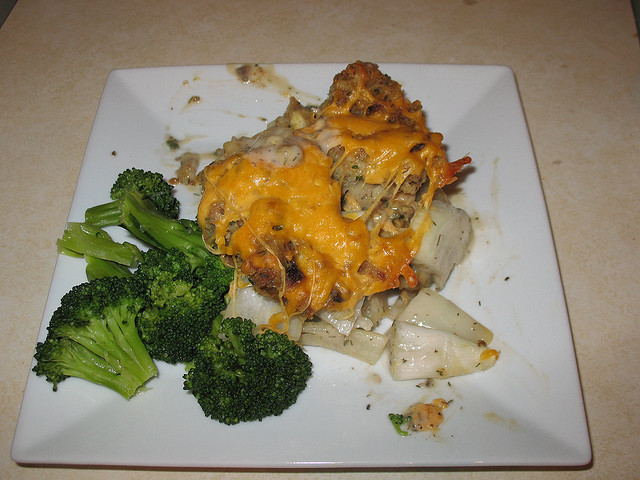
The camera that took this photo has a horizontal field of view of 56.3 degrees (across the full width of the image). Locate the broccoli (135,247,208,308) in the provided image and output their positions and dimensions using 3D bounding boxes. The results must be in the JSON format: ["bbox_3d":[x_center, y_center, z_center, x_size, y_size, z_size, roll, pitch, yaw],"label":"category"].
[{"bbox_3d":[-1.000,0.241,4.154,0.432,0.215,0.394,-27,72,-15],"label":"broccoli"}]

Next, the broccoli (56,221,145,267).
[{"bbox_3d":[-1.573,0.057,4.340,0.612,0.181,0.262,15,83,4],"label":"broccoli"}]
